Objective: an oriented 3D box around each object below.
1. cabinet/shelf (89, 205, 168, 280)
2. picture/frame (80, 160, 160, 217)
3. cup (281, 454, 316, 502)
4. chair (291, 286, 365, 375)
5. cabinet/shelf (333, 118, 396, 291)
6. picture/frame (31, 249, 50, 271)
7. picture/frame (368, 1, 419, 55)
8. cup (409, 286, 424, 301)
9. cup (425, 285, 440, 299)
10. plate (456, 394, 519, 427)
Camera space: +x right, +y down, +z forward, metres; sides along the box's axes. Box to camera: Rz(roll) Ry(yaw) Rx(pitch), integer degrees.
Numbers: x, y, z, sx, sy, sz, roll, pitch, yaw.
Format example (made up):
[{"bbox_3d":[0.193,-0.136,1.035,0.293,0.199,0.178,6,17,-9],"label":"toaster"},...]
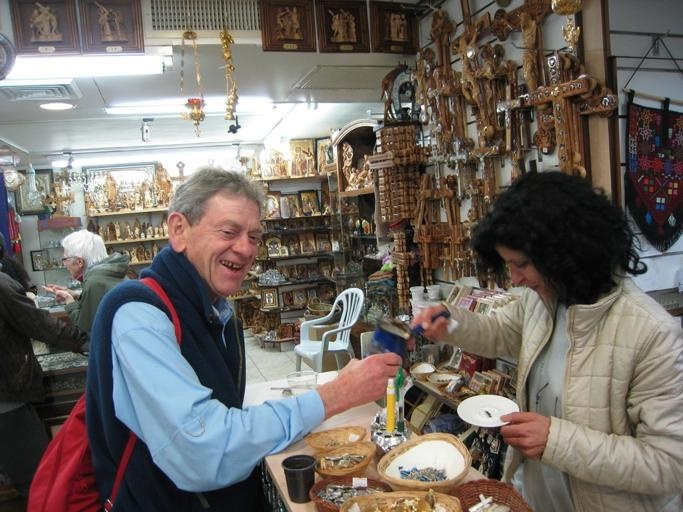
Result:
[{"bbox_3d":[-2.746,-0.231,6.068,1.047,1.054,0.349,-2,1,-11],"label":"cabinet/shelf"},{"bbox_3d":[-3.634,-1.081,7.905,1.188,0.870,0.084,-10,23,-37],"label":"picture/frame"},{"bbox_3d":[-0.153,0.797,1.740,0.122,0.128,0.142,0,-1,0],"label":"cup"},{"bbox_3d":[-0.157,0.911,5.192,0.715,1.104,0.774,4,4,42],"label":"chair"},{"bbox_3d":[0.168,-0.496,5.358,0.944,1.731,0.289,-18,16,-24],"label":"cabinet/shelf"},{"bbox_3d":[-4.963,0.072,7.863,0.316,0.398,0.041,-4,-4,-12],"label":"picture/frame"},{"bbox_3d":[0.419,-1.951,4.051,0.505,0.511,0.057,-1,1,-20],"label":"picture/frame"},{"bbox_3d":[0.626,0.314,3.956,0.099,0.081,0.104,-1,8,0],"label":"cup"},{"bbox_3d":[0.749,0.301,3.945,0.102,0.089,0.105,-1,4,0],"label":"cup"},{"bbox_3d":[0.582,0.638,1.920,0.191,0.036,0.201,12,-3,6],"label":"plate"}]
